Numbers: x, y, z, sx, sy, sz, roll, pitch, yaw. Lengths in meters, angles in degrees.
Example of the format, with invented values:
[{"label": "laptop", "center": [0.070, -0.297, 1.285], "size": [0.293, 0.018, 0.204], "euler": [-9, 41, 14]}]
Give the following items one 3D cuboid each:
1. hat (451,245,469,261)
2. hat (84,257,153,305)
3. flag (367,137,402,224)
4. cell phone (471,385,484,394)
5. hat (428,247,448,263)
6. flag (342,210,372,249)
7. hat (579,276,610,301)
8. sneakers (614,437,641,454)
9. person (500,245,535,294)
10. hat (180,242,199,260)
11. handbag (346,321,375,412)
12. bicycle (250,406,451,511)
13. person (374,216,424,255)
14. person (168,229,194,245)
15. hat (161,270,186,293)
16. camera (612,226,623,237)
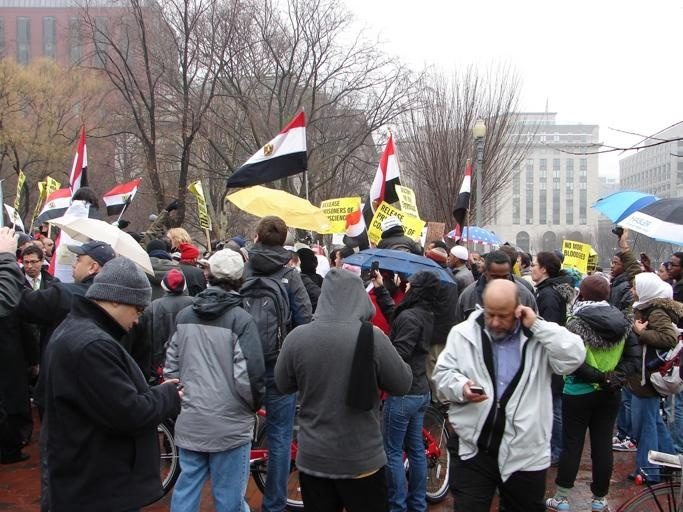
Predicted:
[{"label": "hat", "center": [1.801, -0.056, 10.248], "size": [0.192, 0.224, 0.259], "euler": [-10, 35, -37]}, {"label": "hat", "center": [-1.824, 0.208, 5.502], "size": [0.519, 0.402, 0.450], "euler": [0, -7, -3]}, {"label": "flag", "center": [0.781, -1.444, 11.916], "size": [0.439, 1.584, 0.975], "euler": [2, 1, 32]}, {"label": "cell phone", "center": [1.181, 1.164, 5.816], "size": [0.106, 0.063, 0.112], "euler": [2, 1, 21]}, {"label": "hat", "center": [1.240, -0.026, 8.793], "size": [0.225, 0.212, 0.183], "euler": [-8, 8, -16]}, {"label": "flag", "center": [0.260, -0.451, 11.176], "size": [0.410, 0.667, 0.660], "euler": [1, 1, 0]}, {"label": "hat", "center": [2.744, 0.346, 7.372], "size": [0.242, 0.302, 0.308], "euler": [7, 43, 6]}, {"label": "sneakers", "center": [4.007, 2.667, 9.398], "size": [0.371, 0.178, 0.142], "euler": [4, -12, 17]}, {"label": "person", "center": [2.502, 0.216, 9.676], "size": [0.226, 0.742, 0.227], "euler": [-10, 10, 7]}, {"label": "hat", "center": [-2.211, -0.065, 9.696], "size": [0.249, 0.268, 0.217], "euler": [0, 3, 6]}, {"label": "handbag", "center": [0.194, 0.963, 5.801], "size": [0.299, 0.772, 0.185], "euler": [1, 1, -12]}, {"label": "bicycle", "center": [0.052, 2.358, 8.030], "size": [2.147, 1.393, 1.087], "euler": [4, -15, -15]}, {"label": "person", "center": [0.810, -0.314, 9.693], "size": [0.539, 0.806, 0.260], "euler": [-2, -30, -18]}, {"label": "person", "center": [-2.616, -0.318, 10.784], "size": [0.351, 0.285, 0.783], "euler": [1, 1, -15]}, {"label": "hat", "center": [-1.899, 0.290, 7.595], "size": [0.207, 0.201, 0.291], "euler": [-3, 12, -12]}, {"label": "camera", "center": [3.920, -0.364, 9.634], "size": [0.154, 0.174, 0.127], "euler": [11, -1, -40]}]
